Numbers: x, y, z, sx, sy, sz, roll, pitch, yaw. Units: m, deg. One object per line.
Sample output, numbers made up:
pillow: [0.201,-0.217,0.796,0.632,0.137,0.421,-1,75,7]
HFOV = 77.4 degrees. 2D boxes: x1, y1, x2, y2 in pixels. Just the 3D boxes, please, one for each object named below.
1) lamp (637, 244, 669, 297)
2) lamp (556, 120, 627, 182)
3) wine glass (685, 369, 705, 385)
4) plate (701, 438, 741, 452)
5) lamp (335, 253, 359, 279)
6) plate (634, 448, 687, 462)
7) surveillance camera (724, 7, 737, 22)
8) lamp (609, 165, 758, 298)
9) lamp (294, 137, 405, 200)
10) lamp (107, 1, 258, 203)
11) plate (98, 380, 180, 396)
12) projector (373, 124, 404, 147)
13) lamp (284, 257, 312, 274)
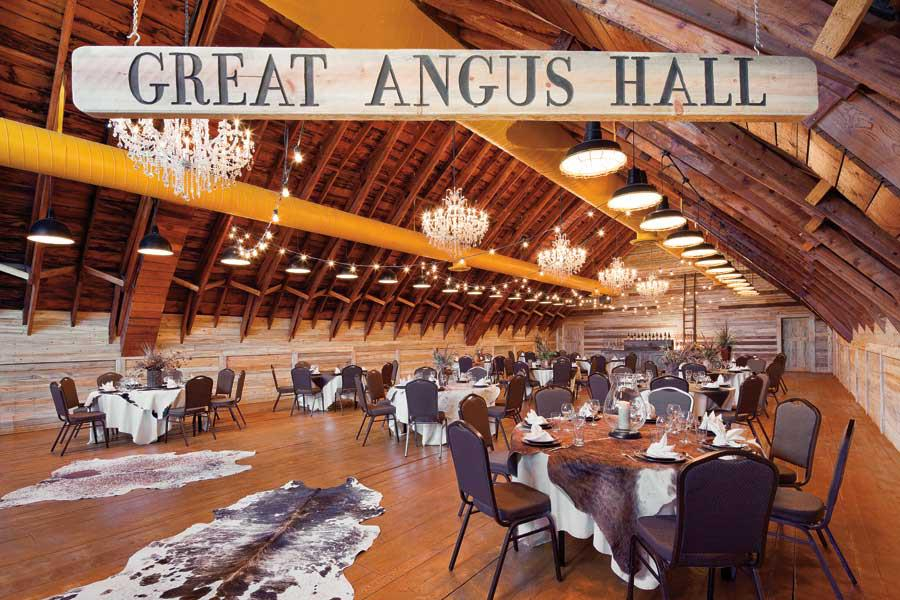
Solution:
lamp: [6.340,-0.799,18.146,1.248,1.507,1.225,-3,-4,25]
lamp: [1.465,-1.667,5.897,0.651,0.569,0.613,-4,-14,29]
wine glass: [4.185,1.304,9.589,0.205,0.152,0.228,-1,-6,8]
plate: [2.531,1.342,5.252,0.236,0.048,0.241,-3,-2,44]
lamp: [-2.126,-0.674,11.427,0.529,0.385,0.536,0,-7,-1]
plate: [1.908,1.402,5.122,0.423,0.061,0.244,4,10,31]
surveillance camera: [2.196,-2.239,4.424,0.084,0.096,0.100,1,10,14]
lamp: [4.427,-1.161,10.611,0.642,0.624,4.262,-19,-40,42]
lamp: [-1.629,-2.304,9.513,0.276,0.555,2.423,16,30,20]
lamp: [-3.265,-2.427,6.742,1.390,2.385,2.496,-7,11,-27]
plate: [-5.223,1.461,9.300,0.781,0.082,0.596,0,0,20]
projector: [-0.897,-2.391,8.007,0.395,0.249,0.869,-2,9,-6]
lamp: [-2.662,-0.595,10.155,0.487,0.244,0.492,-2,-4,39]
